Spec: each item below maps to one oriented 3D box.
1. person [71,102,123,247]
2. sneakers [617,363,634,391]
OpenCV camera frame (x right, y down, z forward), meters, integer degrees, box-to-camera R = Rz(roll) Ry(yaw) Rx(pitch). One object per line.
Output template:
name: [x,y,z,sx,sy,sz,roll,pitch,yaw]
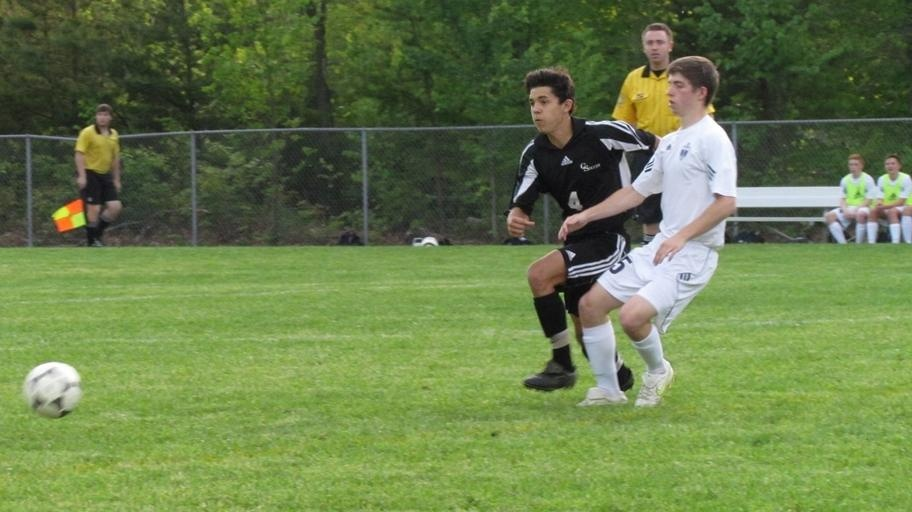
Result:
person: [-7.592,-1.708,27.831,0.866,2.956,1.160,0,-1,-14]
sneakers: [2.556,1.836,19.786,0.221,0.163,0.506,-1,20,-8]
